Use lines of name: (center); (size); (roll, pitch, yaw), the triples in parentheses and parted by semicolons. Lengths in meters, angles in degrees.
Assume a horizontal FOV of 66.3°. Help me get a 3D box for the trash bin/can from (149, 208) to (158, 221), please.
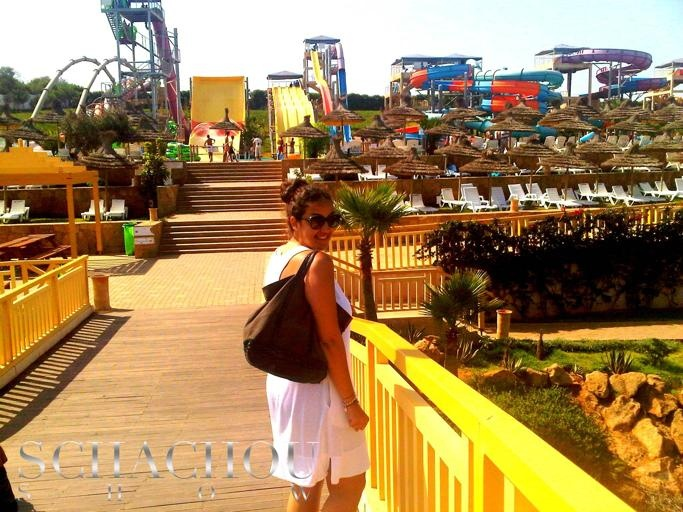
trash bin/can: (-6.757, -1.479, 18.712); (0.214, 0.401, 0.301); (-7, 9, -33)

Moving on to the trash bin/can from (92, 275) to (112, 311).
trash bin/can: (-5.063, 0.741, 10.972); (0.326, 0.798, 0.422); (-6, 8, -26)

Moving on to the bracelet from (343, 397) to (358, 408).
bracelet: (0.044, 0.763, 2.735); (0.064, 0.029, 0.051); (2, -3, -35)

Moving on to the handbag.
handbag: (-0.318, 0.332, 2.715); (0.431, 0.688, 0.241); (3, 9, 35)

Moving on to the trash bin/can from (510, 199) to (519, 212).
trash bin/can: (6.504, -1.889, 19.526); (0.253, 0.456, 1.097); (0, 8, 16)

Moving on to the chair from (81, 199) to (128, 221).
chair: (-9.282, -1.823, 21.030); (1.419, 0.769, 0.982); (-1, 9, -10)
